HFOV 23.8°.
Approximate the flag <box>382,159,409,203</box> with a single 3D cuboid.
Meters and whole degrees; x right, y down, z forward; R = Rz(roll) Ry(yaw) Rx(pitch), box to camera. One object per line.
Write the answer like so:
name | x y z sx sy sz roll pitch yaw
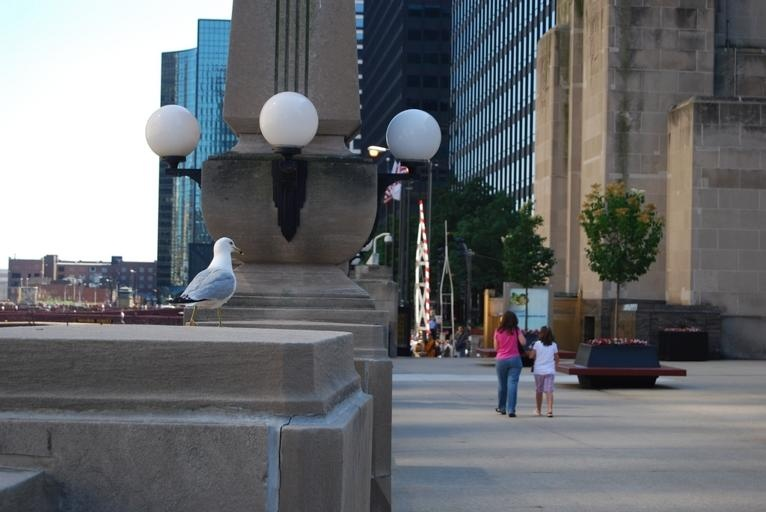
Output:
flag | 0.912 -4.045 107.783 1.691 3.415 0.249 12 -47 -11
